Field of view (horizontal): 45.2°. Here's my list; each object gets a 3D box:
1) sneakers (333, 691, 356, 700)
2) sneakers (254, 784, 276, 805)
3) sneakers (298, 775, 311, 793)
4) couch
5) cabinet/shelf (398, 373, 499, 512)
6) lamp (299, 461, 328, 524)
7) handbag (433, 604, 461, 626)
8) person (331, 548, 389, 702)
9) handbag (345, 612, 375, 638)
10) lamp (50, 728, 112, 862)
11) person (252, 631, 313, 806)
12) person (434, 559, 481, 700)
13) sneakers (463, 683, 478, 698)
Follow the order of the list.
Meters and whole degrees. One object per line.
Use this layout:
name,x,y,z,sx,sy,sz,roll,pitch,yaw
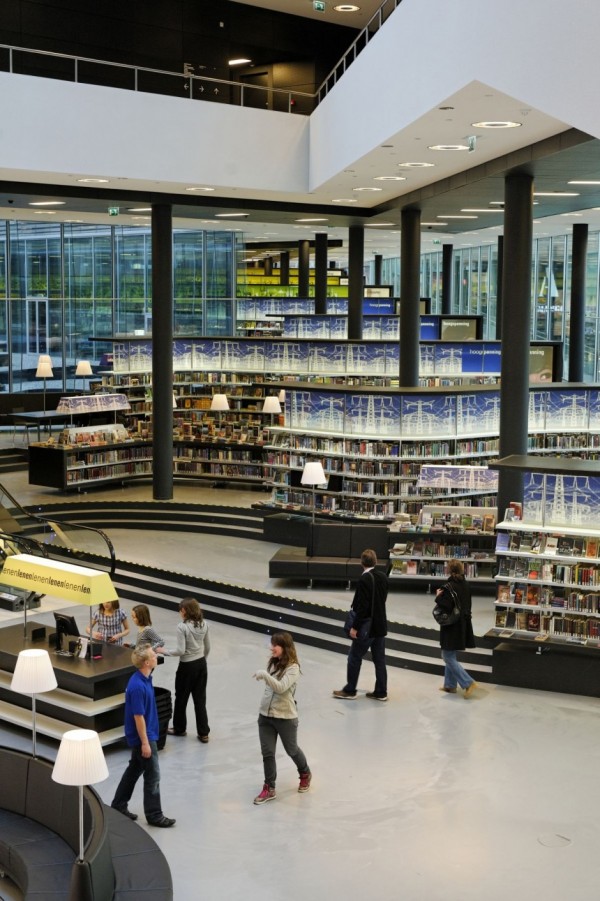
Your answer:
sneakers,0.456,2.464,7.311,0.225,0.112,0.085,8,6,8
sneakers,-0.243,2.412,5.071,0.060,0.117,0.180,-4,-5,35
sneakers,0.034,2.406,5.230,0.055,0.079,0.178,-2,1,10
couch,0.455,1.634,10.929,1.808,1.002,0.790,0,-1,8
cabinet/shelf,2.712,-0.059,12.106,1.760,1.740,0.631,-1,-7,34
lamp,0.201,0.788,11.484,0.338,1.369,0.355,3,23,6
handbag,1.432,1.618,7.031,0.166,0.137,0.227,2,8,10
person,0.625,1.748,7.167,0.496,1.512,0.711,0,-1,7
handbag,0.551,1.668,6.915,0.271,0.259,0.203,0,-1,14
lamp,-0.944,1.556,3.187,0.244,0.581,0.243,1,-6,-33
person,-0.119,1.861,5.065,0.391,1.243,0.711,0,-1,0
person,1.582,1.786,7.303,0.410,1.425,0.822,0,-1,14
sneakers,1.727,2.430,7.309,0.146,0.153,0.098,-22,29,-27
